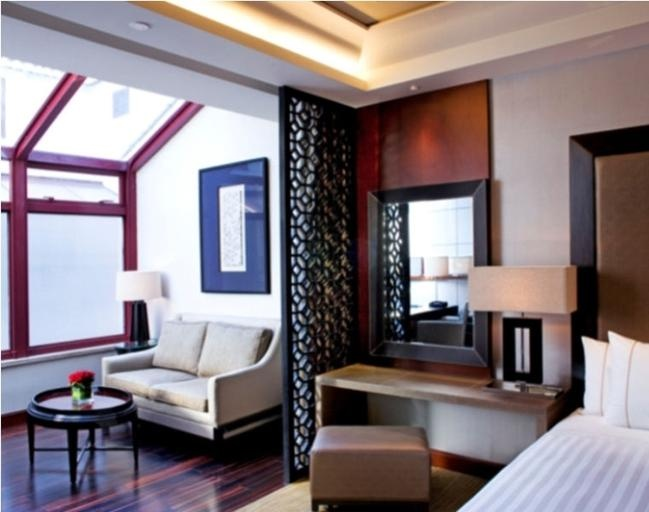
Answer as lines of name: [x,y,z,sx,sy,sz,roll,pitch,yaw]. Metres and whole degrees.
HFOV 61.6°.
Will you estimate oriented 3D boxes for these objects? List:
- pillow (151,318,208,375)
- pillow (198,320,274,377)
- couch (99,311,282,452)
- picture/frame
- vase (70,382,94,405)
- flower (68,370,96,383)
pillow: [-1.411,0.892,5.346,0.533,0.482,0.160,5,-9,38]
pillow: [-0.891,0.902,5.069,0.760,0.505,0.272,0,-2,42]
couch: [-1.123,1.055,5.030,1.494,0.841,0.953,2,6,36]
picture/frame: [-0.926,-0.294,5.572,1.009,1.351,0.142,2,6,36]
vase: [-1.917,1.100,4.320,0.202,0.200,0.147,0,4,-37]
flower: [-1.934,0.971,4.343,0.166,0.090,0.098,-3,5,-19]
